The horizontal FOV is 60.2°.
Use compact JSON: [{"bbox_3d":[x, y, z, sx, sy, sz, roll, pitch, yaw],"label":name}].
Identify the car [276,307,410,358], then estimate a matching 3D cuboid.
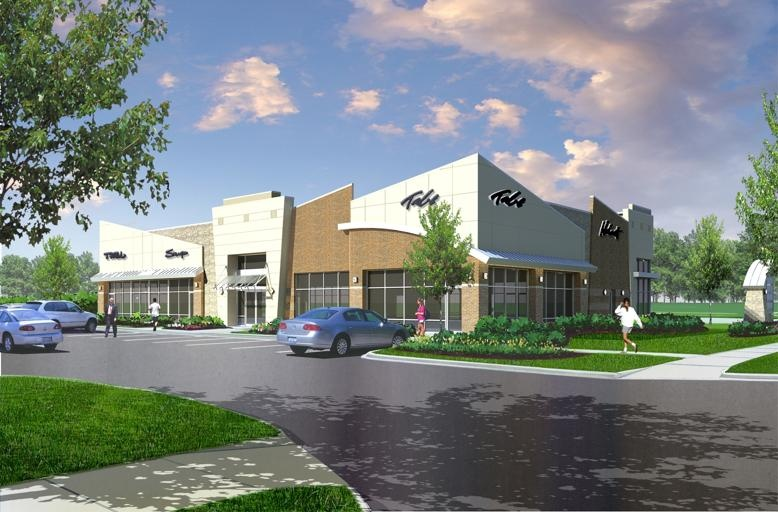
[{"bbox_3d":[-1.732,2.788,25.694,4.358,1.417,1.931,1,-2,-43],"label":"car"}]
